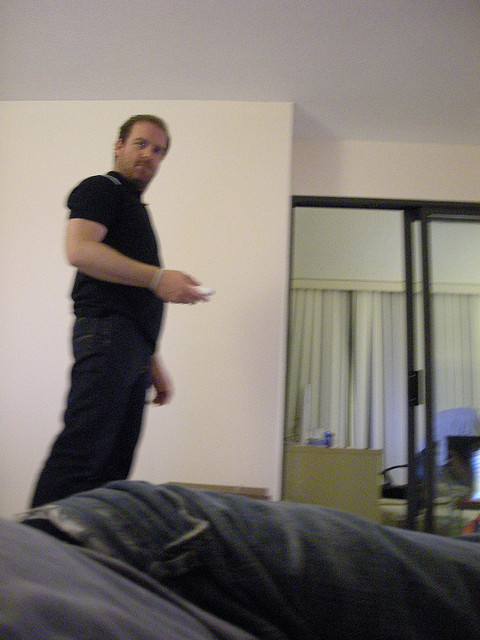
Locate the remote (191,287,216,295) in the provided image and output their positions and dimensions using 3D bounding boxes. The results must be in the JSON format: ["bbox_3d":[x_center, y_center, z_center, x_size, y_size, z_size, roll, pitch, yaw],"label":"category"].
[{"bbox_3d":[-0.137,-0.113,2.447,0.101,0.026,0.039,6,-4,5],"label":"remote"}]

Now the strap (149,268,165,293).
[{"bbox_3d":[-0.252,-0.119,1.878,0.016,0.053,0.060,20,15,4],"label":"strap"}]
